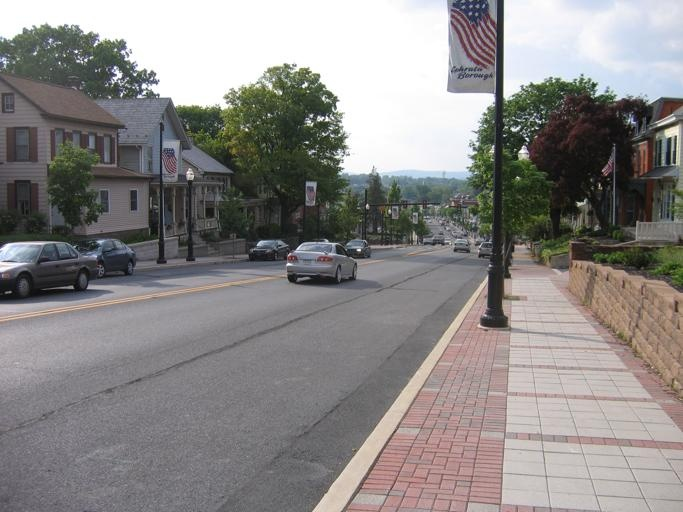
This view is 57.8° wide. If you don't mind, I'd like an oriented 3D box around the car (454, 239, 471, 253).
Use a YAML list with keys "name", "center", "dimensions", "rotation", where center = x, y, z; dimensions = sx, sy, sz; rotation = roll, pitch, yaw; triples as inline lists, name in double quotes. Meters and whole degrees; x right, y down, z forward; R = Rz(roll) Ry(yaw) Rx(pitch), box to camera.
- name: "car"
  center: [14.243, -1.153, 73.396]
  dimensions: [1.116, 1.039, 2.921]
  rotation: [1, 9, 13]

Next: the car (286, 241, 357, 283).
- name: "car"
  center: [-0.827, 0.285, 25.442]
  dimensions: [1.758, 1.645, 3.108]
  rotation: [2, 4, 37]

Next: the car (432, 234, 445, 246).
- name: "car"
  center: [19.150, -3.305, 122.718]
  dimensions: [1.830, 1.792, 4.480]
  rotation: [-1, -4, -6]
